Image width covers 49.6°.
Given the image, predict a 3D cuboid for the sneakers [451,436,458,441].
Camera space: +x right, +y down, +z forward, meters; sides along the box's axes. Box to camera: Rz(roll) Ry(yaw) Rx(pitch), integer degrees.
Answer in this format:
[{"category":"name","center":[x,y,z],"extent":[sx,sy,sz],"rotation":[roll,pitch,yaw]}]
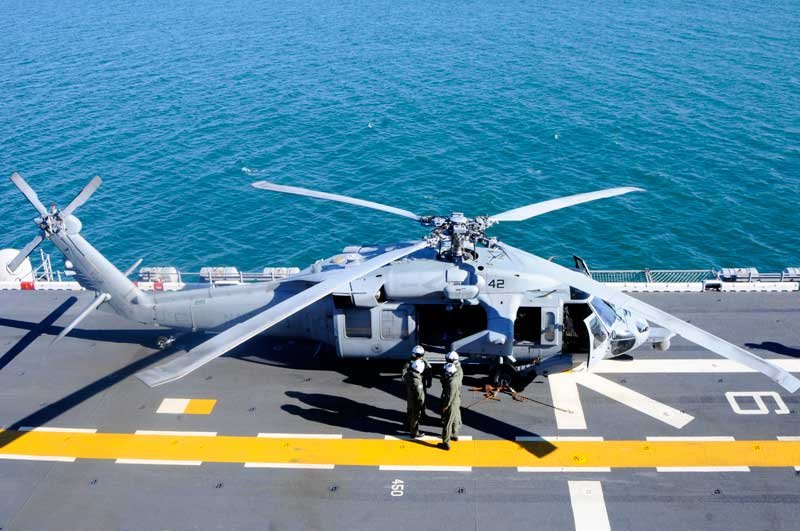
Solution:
[{"category":"sneakers","center":[2.702,8.556,42.808],"extent":[0.479,0.156,0.187],"rotation":[0,6,8]}]

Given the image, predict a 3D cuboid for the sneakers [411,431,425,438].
[{"category":"sneakers","center":[0.890,8.427,43.076],"extent":[0.931,0.229,0.222],"rotation":[-2,36,6]}]
